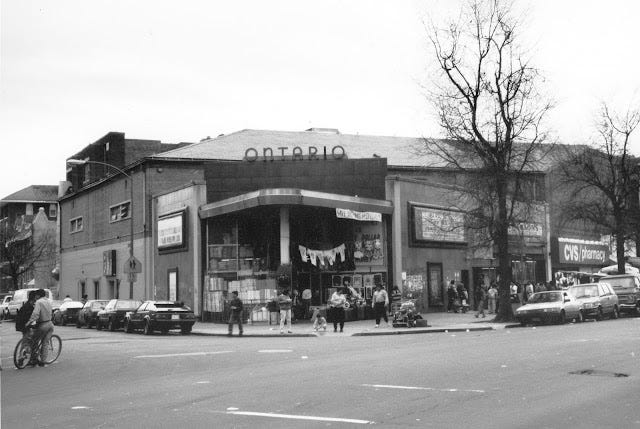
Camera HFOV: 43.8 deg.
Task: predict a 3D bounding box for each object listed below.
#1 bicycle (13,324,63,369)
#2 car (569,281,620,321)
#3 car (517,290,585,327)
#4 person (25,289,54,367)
[{"bbox_3d":[-9.947,4.578,28.020,0.989,1.364,2.322,0,-5,22],"label":"bicycle"},{"bbox_3d":[13.660,4.739,43.822,1.749,1.732,4.142,-5,-8,41],"label":"car"},{"bbox_3d":[12.216,4.944,42.280,2.407,1.571,4.711,-7,-8,35],"label":"car"},{"bbox_3d":[-9.871,3.948,28.200,0.737,2.604,0.874,3,0,35],"label":"person"}]
